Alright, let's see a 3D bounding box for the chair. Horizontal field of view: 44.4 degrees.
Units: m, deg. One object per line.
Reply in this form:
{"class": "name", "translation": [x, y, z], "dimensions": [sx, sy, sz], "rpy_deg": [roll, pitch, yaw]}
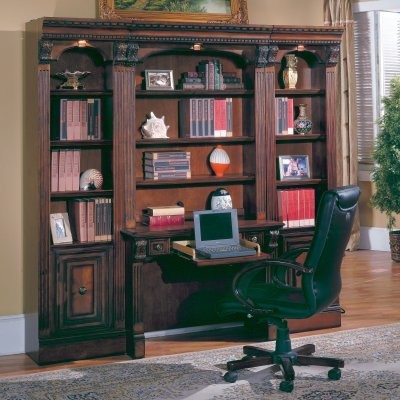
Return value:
{"class": "chair", "translation": [0.513, 0.521, 2.972], "dimensions": [0.786, 1.085, 0.782], "rpy_deg": [-5, -5, 41]}

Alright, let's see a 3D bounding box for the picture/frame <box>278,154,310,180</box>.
{"class": "picture/frame", "translation": [0.773, -0.271, 4.088], "dimensions": [0.347, 0.208, 0.034], "rpy_deg": [-5, 0, -36]}

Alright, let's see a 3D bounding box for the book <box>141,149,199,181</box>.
{"class": "book", "translation": [-0.233, -0.264, 3.697], "dimensions": [0.285, 0.142, 0.265], "rpy_deg": [-2, 5, -27]}

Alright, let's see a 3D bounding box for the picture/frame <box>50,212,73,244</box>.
{"class": "picture/frame", "translation": [-0.965, 0.195, 3.404], "dimensions": [0.133, 0.150, 0.206], "rpy_deg": [-7, 4, -14]}

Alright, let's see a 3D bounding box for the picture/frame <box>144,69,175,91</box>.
{"class": "picture/frame", "translation": [-0.308, -0.887, 3.628], "dimensions": [0.242, 0.160, 0.015], "rpy_deg": [-2, -5, -15]}

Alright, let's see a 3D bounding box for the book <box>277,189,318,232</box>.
{"class": "book", "translation": [0.762, 0.065, 4.144], "dimensions": [0.472, 0.366, 0.308], "rpy_deg": [-1, 1, -16]}

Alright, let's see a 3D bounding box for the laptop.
{"class": "laptop", "translation": [0.178, 0.231, 3.352], "dimensions": [0.389, 0.239, 0.295], "rpy_deg": [-2, 13, -29]}
